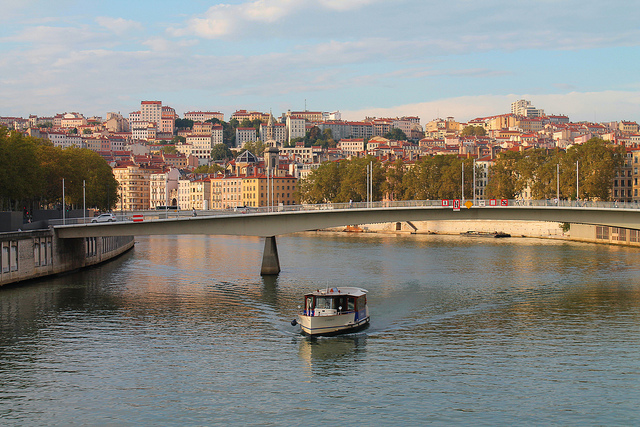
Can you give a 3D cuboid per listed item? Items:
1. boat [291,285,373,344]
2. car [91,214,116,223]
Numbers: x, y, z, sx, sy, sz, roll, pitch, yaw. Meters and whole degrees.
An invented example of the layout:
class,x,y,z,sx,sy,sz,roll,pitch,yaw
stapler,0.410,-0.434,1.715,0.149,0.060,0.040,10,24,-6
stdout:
class,x,y,z,sx,sy,sz,roll,pitch,yaw
boat,1.179,10.959,154.343,6.773,4.593,13.505,3,7,12
car,-28.191,0.646,185.082,2.733,0.961,1.465,2,-1,1
